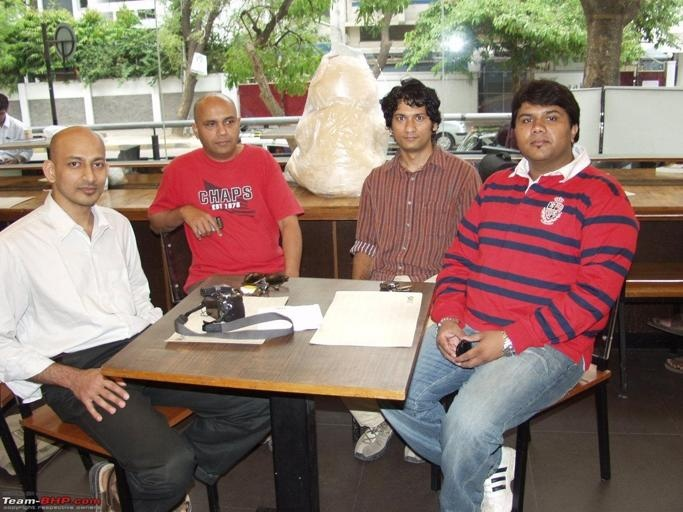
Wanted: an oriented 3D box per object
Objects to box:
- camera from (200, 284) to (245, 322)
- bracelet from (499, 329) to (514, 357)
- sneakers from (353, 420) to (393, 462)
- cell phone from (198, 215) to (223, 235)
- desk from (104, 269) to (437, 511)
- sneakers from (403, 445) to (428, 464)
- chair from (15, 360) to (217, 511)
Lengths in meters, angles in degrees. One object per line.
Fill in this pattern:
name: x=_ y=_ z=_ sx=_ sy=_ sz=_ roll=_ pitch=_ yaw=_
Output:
camera: x=-0.403 y=0.148 z=1.675 sx=0.117 sy=0.127 sz=0.154 roll=-10 pitch=16 yaw=-42
bracelet: x=0.587 y=0.309 z=1.780 sx=0.072 sy=0.078 sz=0.050 roll=-1 pitch=20 yaw=24
sneakers: x=0.170 y=0.873 z=2.469 sx=0.116 sy=0.128 sz=0.301 roll=5 pitch=13 yaw=31
cell phone: x=-0.586 y=-0.134 z=2.301 sx=0.077 sy=0.080 sz=0.027 roll=0 pitch=-9 yaw=11
desk: x=-0.208 y=0.519 z=1.759 sx=0.993 sy=0.718 sz=0.632 roll=1 pitch=14 yaw=12
sneakers: x=0.331 y=0.921 z=2.350 sx=0.103 sy=0.046 sz=0.136 roll=2 pitch=2 yaw=24
chair: x=-0.887 y=0.680 z=1.975 sx=0.487 sy=0.474 sz=0.392 roll=11 pitch=24 yaw=23
